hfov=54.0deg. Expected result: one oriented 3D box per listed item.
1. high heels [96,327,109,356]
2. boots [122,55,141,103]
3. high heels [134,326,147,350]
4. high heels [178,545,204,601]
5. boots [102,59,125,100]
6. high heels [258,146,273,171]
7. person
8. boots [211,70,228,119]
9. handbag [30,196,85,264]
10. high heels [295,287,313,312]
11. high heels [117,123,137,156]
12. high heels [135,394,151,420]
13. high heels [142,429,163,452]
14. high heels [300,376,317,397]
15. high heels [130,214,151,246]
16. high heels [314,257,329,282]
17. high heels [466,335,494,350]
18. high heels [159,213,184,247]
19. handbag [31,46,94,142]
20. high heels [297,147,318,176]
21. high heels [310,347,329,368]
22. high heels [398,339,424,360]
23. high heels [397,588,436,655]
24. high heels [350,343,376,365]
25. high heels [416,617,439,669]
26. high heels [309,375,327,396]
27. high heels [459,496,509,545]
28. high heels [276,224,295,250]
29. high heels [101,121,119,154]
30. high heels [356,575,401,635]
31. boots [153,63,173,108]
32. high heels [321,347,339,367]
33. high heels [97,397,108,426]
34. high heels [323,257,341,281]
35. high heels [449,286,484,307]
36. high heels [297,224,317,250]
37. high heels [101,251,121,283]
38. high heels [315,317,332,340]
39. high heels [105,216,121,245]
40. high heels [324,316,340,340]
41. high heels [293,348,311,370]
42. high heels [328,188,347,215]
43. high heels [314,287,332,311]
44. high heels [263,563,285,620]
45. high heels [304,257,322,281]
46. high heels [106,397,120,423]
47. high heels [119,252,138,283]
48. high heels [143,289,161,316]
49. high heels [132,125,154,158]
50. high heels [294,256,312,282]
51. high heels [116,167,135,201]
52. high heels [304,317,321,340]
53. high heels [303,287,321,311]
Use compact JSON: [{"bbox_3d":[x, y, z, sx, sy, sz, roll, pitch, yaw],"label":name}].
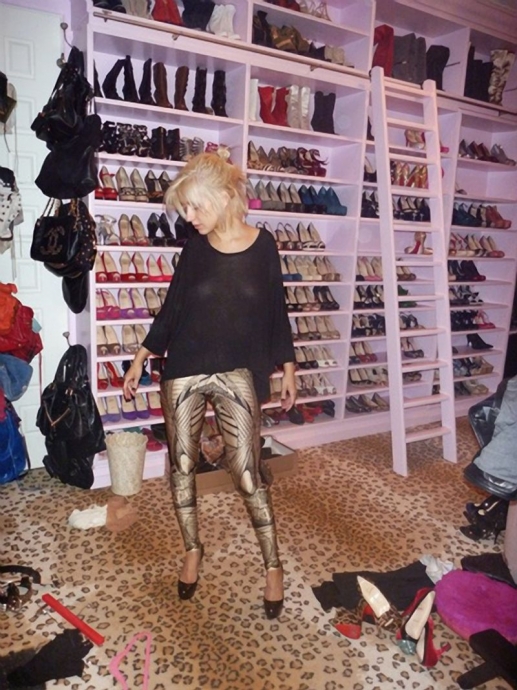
[{"bbox_3d":[-0.964,-0.029,3.119,0.071,0.091,0.231,-7,50,-14],"label":"high heels"},{"bbox_3d":[-0.751,-1.560,2.995,0.103,0.206,0.297,20,19,-13],"label":"boots"},{"bbox_3d":[-0.706,-0.035,3.004,0.052,0.069,0.167,-3,47,-24],"label":"high heels"},{"bbox_3d":[-0.289,0.977,2.108,0.083,0.058,0.263,11,-2,-4],"label":"high heels"},{"bbox_3d":[-0.817,-1.489,2.869,0.118,0.273,0.268,-1,9,-17],"label":"boots"},{"bbox_3d":[0.039,-1.266,3.463,0.089,0.116,0.288,-6,32,-4],"label":"high heels"},{"bbox_3d":[-0.168,0.191,1.840,0.593,1.678,0.307,2,8,3],"label":"person"},{"bbox_3d":[-0.247,-1.574,3.171,0.095,0.291,0.112,1,8,-5],"label":"boots"},{"bbox_3d":[-1.056,-0.586,2.670,0.314,0.344,0.209,10,12,43],"label":"handbag"},{"bbox_3d":[0.351,-0.337,3.787,0.086,0.100,0.256,-3,30,-8],"label":"high heels"},{"bbox_3d":[-0.734,-1.151,2.862,0.111,0.177,0.065,-6,6,-22],"label":"high heels"},{"bbox_3d":[-0.733,0.403,3.251,0.063,0.084,0.204,-5,46,-22],"label":"high heels"},{"bbox_3d":[-0.668,0.606,3.191,0.069,0.068,0.190,-6,13,-32],"label":"high heels"},{"bbox_3d":[0.370,0.324,3.820,0.067,0.084,0.214,-2,9,-10],"label":"high heels"},{"bbox_3d":[-0.737,-0.699,3.168,0.094,0.053,0.366,-11,50,-14],"label":"high heels"},{"bbox_3d":[0.505,-0.589,3.921,0.080,0.111,0.263,-6,49,-11],"label":"high heels"},{"bbox_3d":[2.062,-0.015,4.779,0.109,0.194,0.276,-6,8,-37],"label":"high heels"},{"bbox_3d":[-0.549,-0.730,3.243,0.079,0.328,0.117,12,-36,-41],"label":"high heels"},{"bbox_3d":[-1.007,-1.300,2.613,0.288,0.515,0.362,-2,10,-27],"label":"handbag"},{"bbox_3d":[0.356,-1.314,3.659,0.150,0.237,0.288,2,9,3],"label":"high heels"},{"bbox_3d":[0.494,0.112,3.927,0.113,0.056,0.145,-4,34,-9],"label":"high heels"},{"bbox_3d":[1.245,0.048,4.148,0.119,0.139,0.348,-8,8,-7],"label":"high heels"},{"bbox_3d":[0.556,1.000,1.805,0.084,0.248,0.071,10,-24,23],"label":"high heels"},{"bbox_3d":[0.842,0.089,4.124,0.142,0.096,0.249,-7,18,-20],"label":"high heels"},{"bbox_3d":[0.589,1.046,1.763,0.051,0.057,0.144,-21,52,23],"label":"high heels"},{"bbox_3d":[0.459,0.317,3.886,0.074,0.083,0.215,-5,19,-9],"label":"high heels"},{"bbox_3d":[1.150,0.887,2.597,0.200,0.188,0.228,7,10,29],"label":"high heels"},{"bbox_3d":[0.201,-0.786,3.701,0.096,0.126,0.316,-1,31,-10],"label":"high heels"},{"bbox_3d":[-0.824,-1.151,2.845,0.111,0.186,0.062,2,12,5],"label":"high heels"},{"bbox_3d":[0.443,0.970,1.900,0.069,0.074,0.187,-19,44,-8],"label":"high heels"},{"bbox_3d":[-0.562,-1.517,2.974,0.099,0.289,0.191,0,9,-15],"label":"boots"},{"bbox_3d":[0.550,0.100,3.947,0.067,0.089,0.215,-13,24,0],"label":"high heels"},{"bbox_3d":[-0.958,0.412,3.122,0.060,0.194,0.082,-8,-11,-26],"label":"high heels"},{"bbox_3d":[0.534,-0.564,3.897,0.085,0.104,0.253,-19,44,-11],"label":"high heels"},{"bbox_3d":[1.910,-0.440,4.691,0.140,0.177,0.418,0,22,-6],"label":"high heels"},{"bbox_3d":[0.360,-0.790,3.816,0.096,0.109,0.287,-5,45,-10],"label":"high heels"},{"bbox_3d":[-0.881,-0.444,3.053,0.089,0.058,0.338,-11,52,-22],"label":"high heels"},{"bbox_3d":[0.509,-0.112,3.895,0.080,0.093,0.233,-9,39,-14],"label":"high heels"},{"bbox_3d":[-0.891,-0.689,3.082,0.083,0.100,0.263,-8,31,-23],"label":"high heels"},{"bbox_3d":[0.563,-0.115,3.901,0.069,0.089,0.225,-13,39,-1],"label":"high heels"},{"bbox_3d":[0.335,0.109,3.848,0.075,0.092,0.225,-4,20,-13],"label":"high heels"},{"bbox_3d":[0.575,-1.068,3.796,0.157,0.221,0.080,-7,4,15],"label":"high heels"},{"bbox_3d":[0.511,-0.341,3.895,0.089,0.109,0.264,-9,33,-15],"label":"high heels"},{"bbox_3d":[0.054,0.928,1.924,0.072,0.206,0.083,2,7,24],"label":"high heels"},{"bbox_3d":[0.403,-0.566,3.878,0.085,0.119,0.281,-1,22,-4],"label":"high heels"},{"bbox_3d":[-0.894,0.403,3.114,0.065,0.077,0.198,-2,38,-27],"label":"high heels"},{"bbox_3d":[-0.812,-0.454,3.169,0.098,0.060,0.354,-3,59,-15],"label":"high heels"},{"bbox_3d":[-0.684,-0.263,3.249,0.080,0.091,0.234,-13,60,-13],"label":"high heels"},{"bbox_3d":[-0.671,-1.179,2.970,0.117,0.189,0.190,-10,-3,-7],"label":"high heels"},{"bbox_3d":[0.350,-0.573,3.861,0.085,0.114,0.278,-4,38,-6],"label":"high heels"},{"bbox_3d":[-0.810,-0.965,3.060,0.088,0.082,0.281,-9,63,-26],"label":"high heels"},{"bbox_3d":[0.415,-0.114,3.838,0.074,0.093,0.235,-5,50,-10],"label":"high heels"},{"bbox_3d":[0.404,-0.333,3.817,0.089,0.095,0.266,-3,34,-6],"label":"high heels"}]
